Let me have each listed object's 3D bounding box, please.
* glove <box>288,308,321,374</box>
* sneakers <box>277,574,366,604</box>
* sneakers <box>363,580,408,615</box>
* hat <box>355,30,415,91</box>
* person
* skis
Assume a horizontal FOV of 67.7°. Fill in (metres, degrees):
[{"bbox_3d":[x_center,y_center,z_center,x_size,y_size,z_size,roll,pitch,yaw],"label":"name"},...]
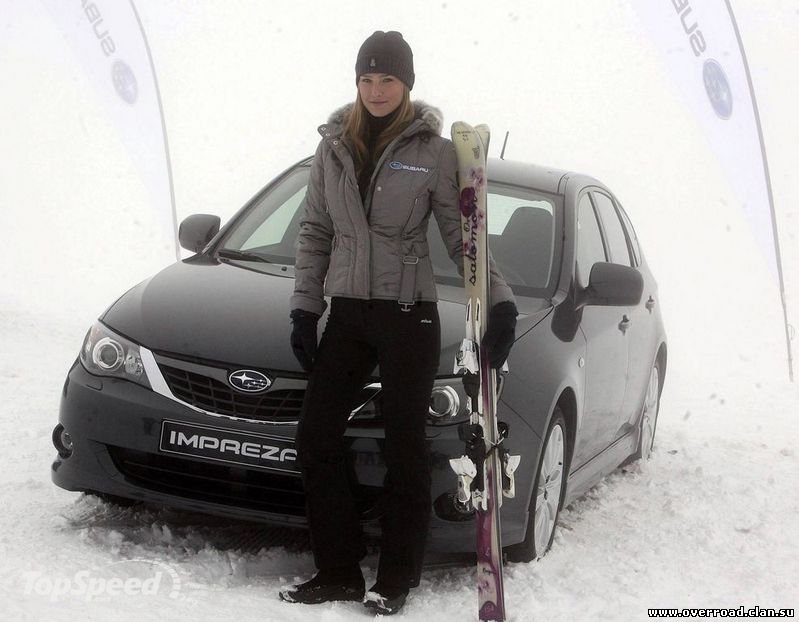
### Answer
[{"bbox_3d":[-0.320,0.101,2.006,0.058,0.194,0.126,7,5,-16],"label":"glove"},{"bbox_3d":[-0.270,0.917,2.057,0.288,0.138,0.115,4,-3,-10],"label":"sneakers"},{"bbox_3d":[-0.050,0.936,1.964,0.061,0.086,0.185,1,-12,16],"label":"sneakers"},{"bbox_3d":[-0.045,-0.863,2.017,0.186,0.205,0.188,-12,28,-33],"label":"hat"},{"bbox_3d":[-0.019,0.032,2.056,0.737,1.801,0.337,5,-1,-3],"label":"person"},{"bbox_3d":[0.260,0.200,2.004,0.179,1.645,0.175,-1,6,1],"label":"skis"}]
